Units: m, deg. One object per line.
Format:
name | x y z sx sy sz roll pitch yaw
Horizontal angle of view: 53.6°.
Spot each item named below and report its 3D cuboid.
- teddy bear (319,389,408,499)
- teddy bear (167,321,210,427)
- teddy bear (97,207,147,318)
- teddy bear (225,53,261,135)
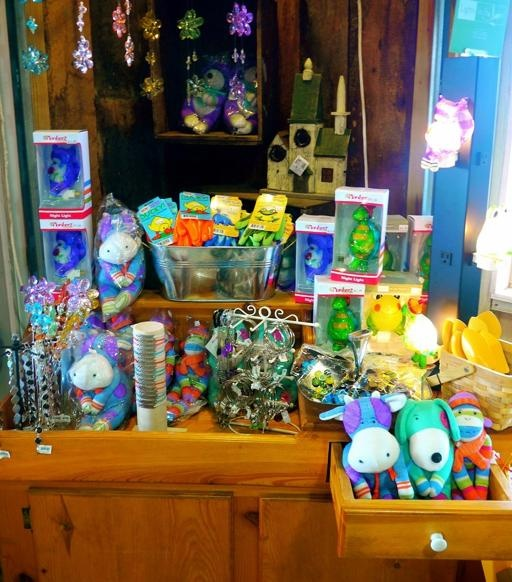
teddy bear | 0.241 0.310 1.054 0.166 0.191 0.179 -4 17 -14
teddy bear | -0.183 0.247 1.461 0.088 0.258 0.084 17 -27 -7
teddy bear | -0.417 -0.084 1.579 0.143 0.323 0.118 0 2 -6
teddy bear | -0.060 -0.713 1.846 0.135 0.264 0.095 -1 -5 0
